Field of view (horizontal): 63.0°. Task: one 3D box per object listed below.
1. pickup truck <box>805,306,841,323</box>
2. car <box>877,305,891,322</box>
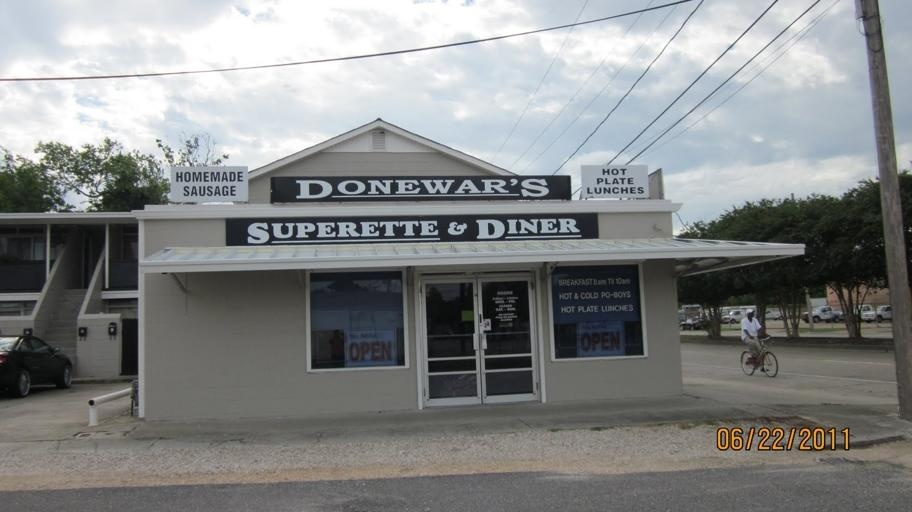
[{"bbox_3d":[34.136,5.408,68.734,1.395,1.552,3.182,0,-6,-6],"label":"pickup truck"},{"bbox_3d":[35.371,4.767,61.643,0.984,1.211,3.604,-5,-7,31],"label":"car"}]
